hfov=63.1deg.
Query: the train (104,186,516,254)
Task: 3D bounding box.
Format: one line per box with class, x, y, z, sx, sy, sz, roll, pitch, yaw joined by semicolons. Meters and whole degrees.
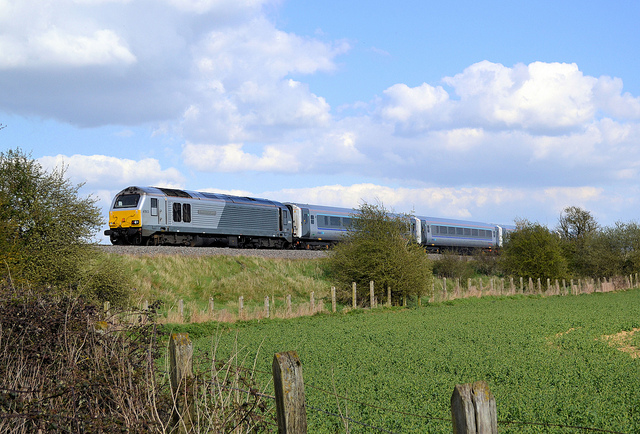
train;-3.145;0.565;32.760;2.791;2.727;24.856;1;-3;44
